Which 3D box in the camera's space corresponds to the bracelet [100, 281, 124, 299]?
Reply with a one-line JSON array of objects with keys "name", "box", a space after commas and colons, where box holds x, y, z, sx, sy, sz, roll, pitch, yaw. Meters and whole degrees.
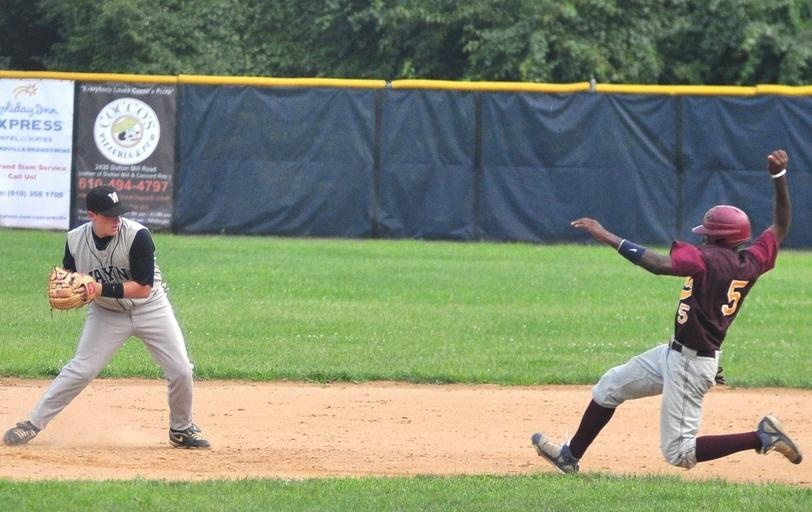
[{"name": "bracelet", "box": [-5.903, 0.728, 37.253, 0.333, 0.244, 0.329, -6, 12, -31]}]

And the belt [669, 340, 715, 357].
[{"name": "belt", "box": [5.736, 1.870, 36.712, 0.894, 0.318, 0.138, 1, 8, 3]}]

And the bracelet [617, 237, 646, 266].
[{"name": "bracelet", "box": [4.502, -0.049, 36.604, 0.548, 0.436, 0.235, 1, 8, 7]}]
